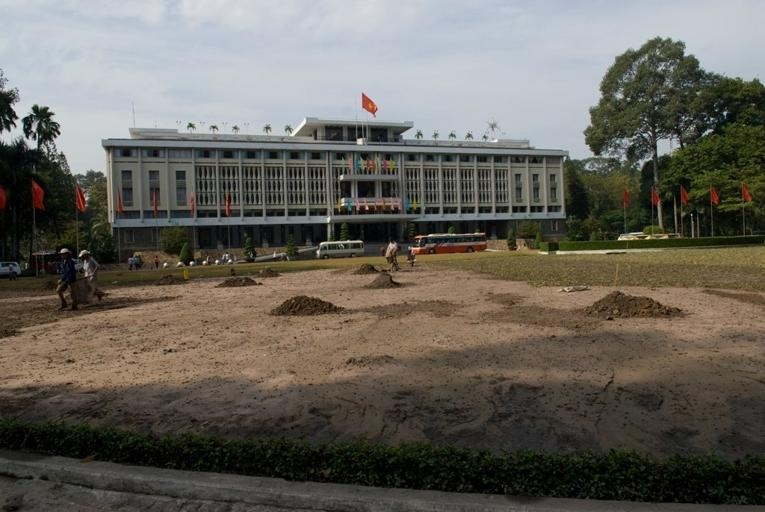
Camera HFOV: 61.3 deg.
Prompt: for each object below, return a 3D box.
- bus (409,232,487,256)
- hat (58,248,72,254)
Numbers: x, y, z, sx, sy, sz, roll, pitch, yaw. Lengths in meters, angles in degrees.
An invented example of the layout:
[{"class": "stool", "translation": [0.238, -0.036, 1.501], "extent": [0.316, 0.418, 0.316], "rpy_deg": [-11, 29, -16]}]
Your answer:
[{"class": "bus", "translation": [6.758, -1.232, 67.967], "extent": [5.466, 2.030, 9.399], "rpy_deg": [7, 12, 37]}, {"class": "hat", "translation": [-15.770, -0.282, 31.970], "extent": [0.688, 0.220, 0.701], "rpy_deg": [-3, 0, 30]}]
